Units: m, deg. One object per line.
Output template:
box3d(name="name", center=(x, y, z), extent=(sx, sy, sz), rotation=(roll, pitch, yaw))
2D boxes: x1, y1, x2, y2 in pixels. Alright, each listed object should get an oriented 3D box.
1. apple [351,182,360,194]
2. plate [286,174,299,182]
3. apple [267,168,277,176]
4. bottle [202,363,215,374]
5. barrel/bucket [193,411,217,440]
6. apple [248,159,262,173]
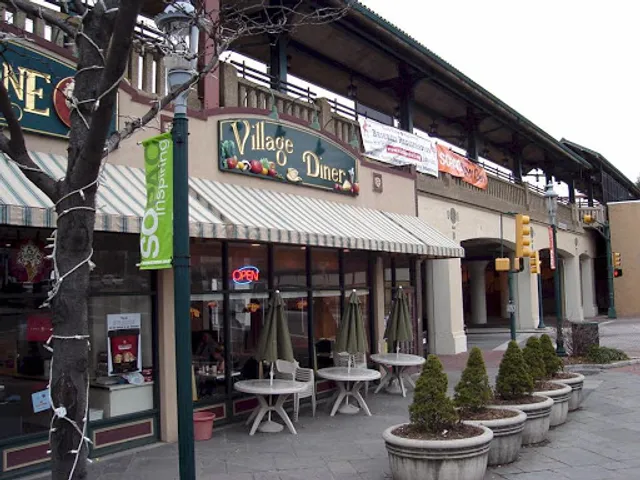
box3d(name="apple", center=(0.927, -1.361, 16.308), extent=(0.110, 0.329, 0.417), rotation=(-1, -2, 21))
box3d(name="plate", center=(-0.612, -1.452, 14.429), extent=(0.061, 0.195, 0.476), rotation=(-2, -3, 34))
box3d(name="apple", center=(-1.053, -1.511, 13.891), extent=(0.069, 0.183, 0.357), rotation=(-2, -2, 24))
box3d(name="bottle", center=(-2.257, 2.590, 12.546), extent=(0.124, 0.234, 0.244), rotation=(-4, -8, 27))
box3d(name="barrel/bucket", center=(-2.161, 3.447, 11.766), extent=(0.523, 0.437, 0.541), rotation=(-1, -1, 0))
box3d(name="apple", center=(-1.386, -1.610, 13.520), extent=(0.257, 0.274, 0.269), rotation=(1, 3, 24))
